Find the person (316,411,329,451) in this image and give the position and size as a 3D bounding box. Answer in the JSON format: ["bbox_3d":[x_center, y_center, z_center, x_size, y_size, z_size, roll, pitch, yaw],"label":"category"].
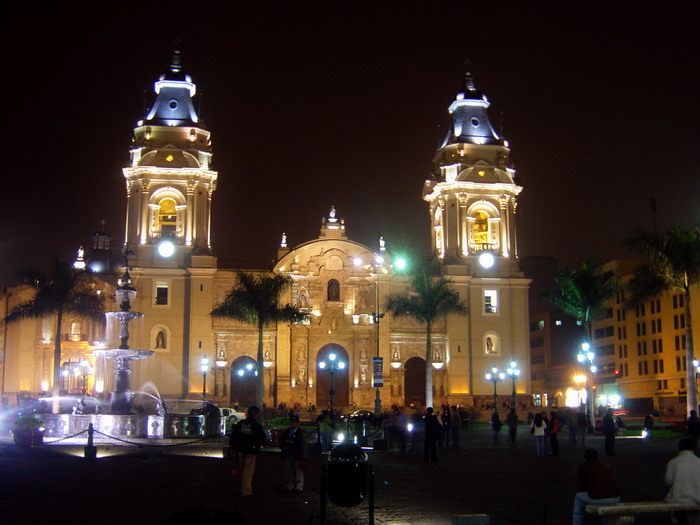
[{"bbox_3d":[-1.132,7.317,35.876,0.503,1.789,0.938,1,-12,-4],"label":"person"}]

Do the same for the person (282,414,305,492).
[{"bbox_3d":[-1.544,5.333,22.986,0.755,2.102,0.658,-1,-13,7],"label":"person"}]
